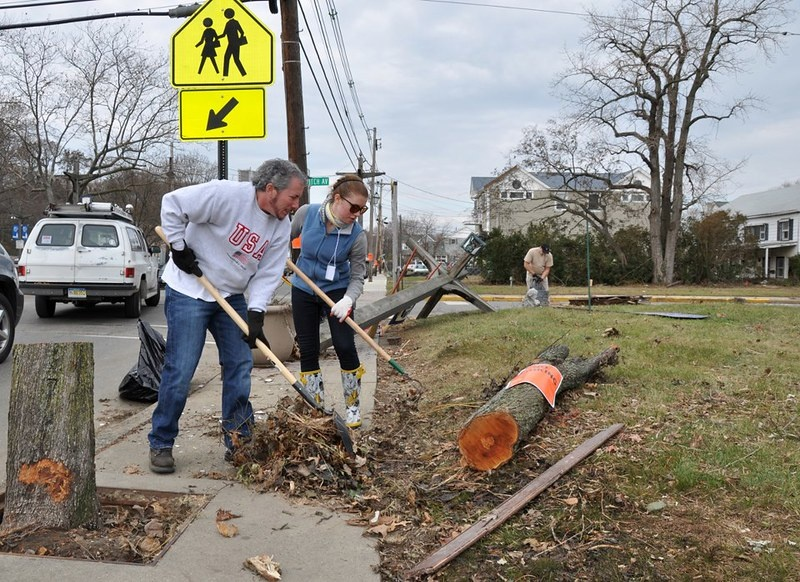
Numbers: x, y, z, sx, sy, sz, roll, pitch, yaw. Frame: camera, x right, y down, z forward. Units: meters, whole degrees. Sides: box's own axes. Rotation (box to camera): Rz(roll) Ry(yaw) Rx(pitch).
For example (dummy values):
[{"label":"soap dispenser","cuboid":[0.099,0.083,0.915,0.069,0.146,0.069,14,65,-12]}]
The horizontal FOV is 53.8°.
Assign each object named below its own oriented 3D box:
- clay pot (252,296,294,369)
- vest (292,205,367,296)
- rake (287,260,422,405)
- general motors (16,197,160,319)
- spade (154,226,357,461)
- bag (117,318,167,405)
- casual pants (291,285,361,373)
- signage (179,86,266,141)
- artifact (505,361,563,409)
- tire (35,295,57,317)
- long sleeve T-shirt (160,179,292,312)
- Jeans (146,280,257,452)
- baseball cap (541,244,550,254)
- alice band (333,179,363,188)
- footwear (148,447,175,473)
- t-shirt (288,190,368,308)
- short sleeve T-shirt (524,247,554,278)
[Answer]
[{"label":"clay pot","cuboid":[-1.568,0.559,9.782,0.772,0.690,0.763,-8,-2,0]},{"label":"vest","cuboid":[-0.634,-0.355,7.191,0.717,0.691,0.426,13,12,-10]},{"label":"rake","cuboid":[-0.500,0.533,8.815,2.876,0.139,0.288,35,18,10]},{"label":"general motors","cuboid":[-6.157,-0.669,15.555,2.116,2.388,2.221,0,2,-11]},{"label":"spade","cuboid":[-1.115,0.469,6.462,1.486,1.726,0.357,0,2,1]},{"label":"bag","cuboid":[-2.855,0.748,8.891,0.541,0.931,0.968,2,5,-4]},{"label":"casual pants","cuboid":[-0.747,0.304,7.326,0.508,1.291,0.305,-7,-17,-5]},{"label":"signage","cuboid":[-1.784,-1.761,7.928,0.850,0.509,0.183,0,2,-1]},{"label":"artifact","cuboid":[1.178,0.859,6.983,0.456,0.388,0.479,1,2,17]},{"label":"tire","cuboid":[-6.756,0.301,15.003,0.154,0.417,0.426,0,0,3]},{"label":"long sleeve T-shirt","cuboid":[-1.427,-0.372,6.466,0.909,0.858,0.525,30,15,-38]},{"label":"Jeans","cuboid":[-1.656,0.520,6.630,0.820,1.694,0.390,4,-20,-20]},{"label":"baseball cap","cuboid":[2.836,-0.804,15.342,0.135,0.104,0.180,2,42,-21]},{"label":"alice band","cuboid":[-0.459,-0.945,6.965,0.272,0.075,0.120,0,2,1]},{"label":"footwear","cuboid":[-1.925,1.358,6.329,0.225,0.192,0.204,0,2,-5]},{"label":"t-shirt","cuboid":[-0.650,-0.365,7.126,0.871,0.884,0.546,14,12,-15]},{"label":"short sleeve T-shirt","cuboid":[2.815,-0.601,15.889,0.684,0.700,0.598,-5,11,-16]}]
